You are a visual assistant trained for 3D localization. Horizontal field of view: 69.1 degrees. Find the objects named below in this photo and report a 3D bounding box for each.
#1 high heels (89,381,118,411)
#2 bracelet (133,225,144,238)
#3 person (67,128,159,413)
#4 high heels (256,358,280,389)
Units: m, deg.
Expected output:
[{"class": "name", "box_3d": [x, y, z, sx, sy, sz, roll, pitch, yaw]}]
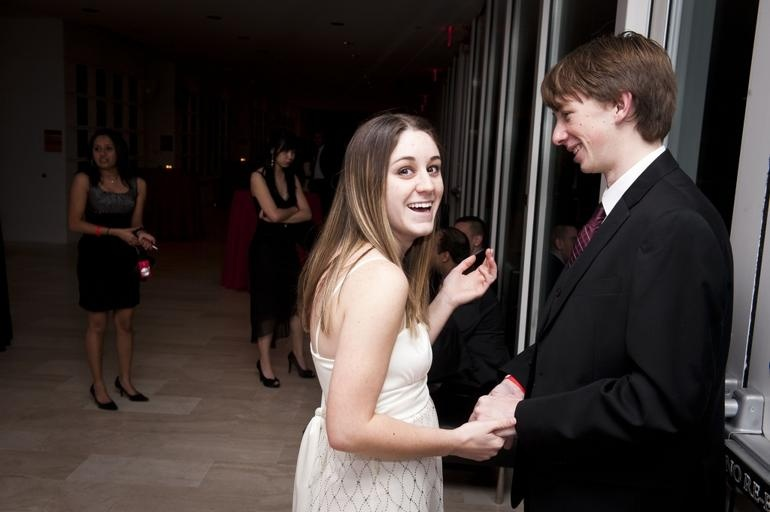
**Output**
[{"class": "high heels", "box_3d": [-1.928, 0.955, 3.825, 0.323, 0.144, 0.105, 14, 10, 38]}, {"class": "bracelet", "box_3d": [-1.612, -0.159, 3.644, 0.043, 0.034, 0.065, -1, -22, -5]}, {"class": "person", "box_3d": [-1.802, 0.090, 3.724, 0.516, 1.821, 0.455, -2, 12, -18]}, {"class": "high heels", "box_3d": [-0.869, 0.897, 4.246, 0.099, 0.168, 0.290, -2, 9, -43]}]
